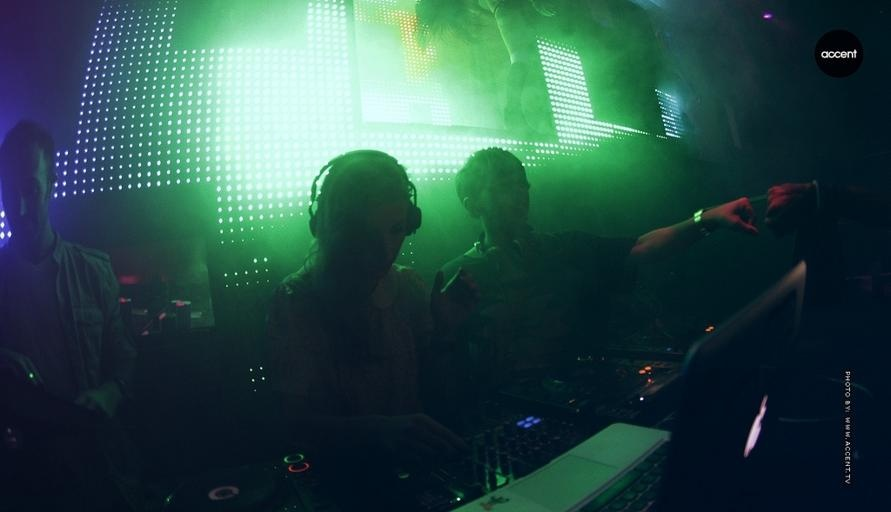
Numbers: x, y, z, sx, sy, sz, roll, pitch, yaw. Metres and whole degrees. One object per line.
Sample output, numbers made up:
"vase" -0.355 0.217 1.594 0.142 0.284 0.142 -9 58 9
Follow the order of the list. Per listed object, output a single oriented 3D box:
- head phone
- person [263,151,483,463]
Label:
"head phone" -0.323 -0.224 2.349 0.325 0.256 0.134 -2 -11 -13
"person" -0.316 0.165 2.332 0.667 1.084 0.341 -4 4 -3
